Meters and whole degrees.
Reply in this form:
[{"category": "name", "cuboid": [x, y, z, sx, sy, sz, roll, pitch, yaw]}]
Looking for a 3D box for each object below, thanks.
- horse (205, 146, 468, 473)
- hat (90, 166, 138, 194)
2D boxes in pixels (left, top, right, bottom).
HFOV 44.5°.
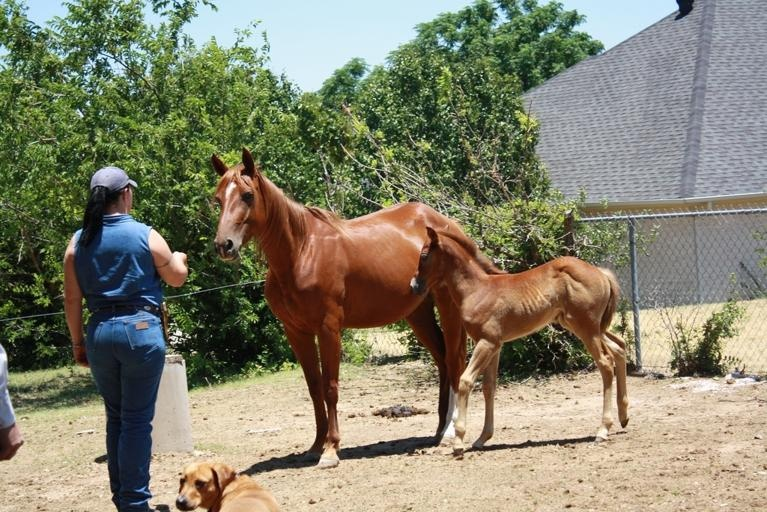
[{"category": "horse", "cuboid": [-0.952, 1.163, 16.978, 5.740, 5.364, 1.934, 0, -2, -38]}, {"category": "hat", "cuboid": [-3.829, -1.092, 13.391, 0.394, 0.291, 0.523, 6, 12, 43]}]
